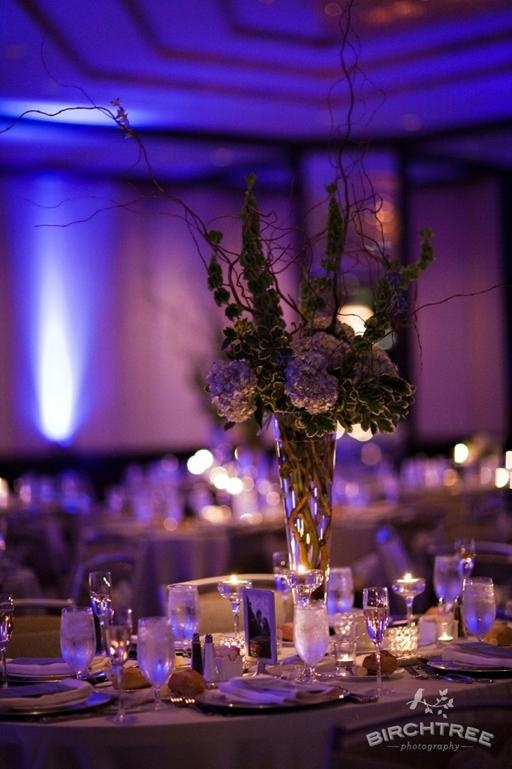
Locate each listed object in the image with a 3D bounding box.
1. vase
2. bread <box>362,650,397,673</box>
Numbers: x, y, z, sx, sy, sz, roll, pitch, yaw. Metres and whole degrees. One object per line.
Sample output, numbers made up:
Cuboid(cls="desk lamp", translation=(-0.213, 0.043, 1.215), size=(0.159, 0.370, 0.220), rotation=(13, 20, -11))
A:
Cuboid(cls="vase", translation=(0.121, 0.273, 2.012), size=(0.151, 0.400, 0.133), rotation=(-3, -4, 6))
Cuboid(cls="bread", translation=(0.266, 0.609, 1.839), size=(0.059, 0.052, 0.020), rotation=(-8, 21, 11))
